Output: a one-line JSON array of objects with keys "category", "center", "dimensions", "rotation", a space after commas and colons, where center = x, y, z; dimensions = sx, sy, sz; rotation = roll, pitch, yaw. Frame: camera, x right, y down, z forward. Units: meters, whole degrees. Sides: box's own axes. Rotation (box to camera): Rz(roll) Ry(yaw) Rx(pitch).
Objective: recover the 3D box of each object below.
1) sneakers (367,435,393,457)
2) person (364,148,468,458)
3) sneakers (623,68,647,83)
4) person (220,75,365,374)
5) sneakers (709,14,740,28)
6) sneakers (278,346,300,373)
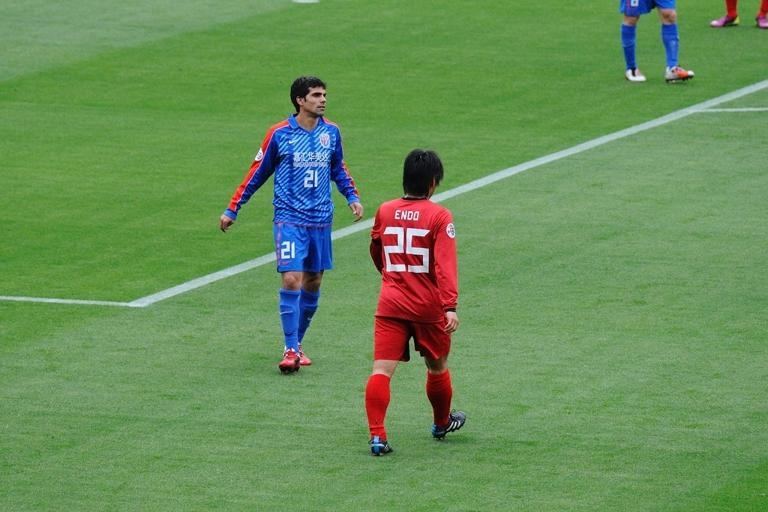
[{"category": "sneakers", "center": [-0.006, 1.761, 17.318], "dimensions": [0.234, 0.208, 0.167], "rotation": [-5, 16, -16]}, {"category": "person", "center": [0.282, 0.427, 17.304], "dimensions": [0.962, 2.812, 0.857], "rotation": [-3, 17, -6]}, {"category": "sneakers", "center": [3.581, -2.571, 26.144], "dimensions": [0.267, 0.143, 0.411], "rotation": [2, 11, 4]}, {"category": "person", "center": [-0.862, -0.364, 18.747], "dimensions": [1.055, 2.876, 1.169], "rotation": [10, 20, 30]}, {"category": "sneakers", "center": [5.350, -3.710, 29.017], "dimensions": [0.527, 0.159, 0.167], "rotation": [0, 8, -14]}, {"category": "sneakers", "center": [-0.937, 1.048, 18.541], "dimensions": [0.207, 0.247, 0.173], "rotation": [-1, 16, -3]}]
